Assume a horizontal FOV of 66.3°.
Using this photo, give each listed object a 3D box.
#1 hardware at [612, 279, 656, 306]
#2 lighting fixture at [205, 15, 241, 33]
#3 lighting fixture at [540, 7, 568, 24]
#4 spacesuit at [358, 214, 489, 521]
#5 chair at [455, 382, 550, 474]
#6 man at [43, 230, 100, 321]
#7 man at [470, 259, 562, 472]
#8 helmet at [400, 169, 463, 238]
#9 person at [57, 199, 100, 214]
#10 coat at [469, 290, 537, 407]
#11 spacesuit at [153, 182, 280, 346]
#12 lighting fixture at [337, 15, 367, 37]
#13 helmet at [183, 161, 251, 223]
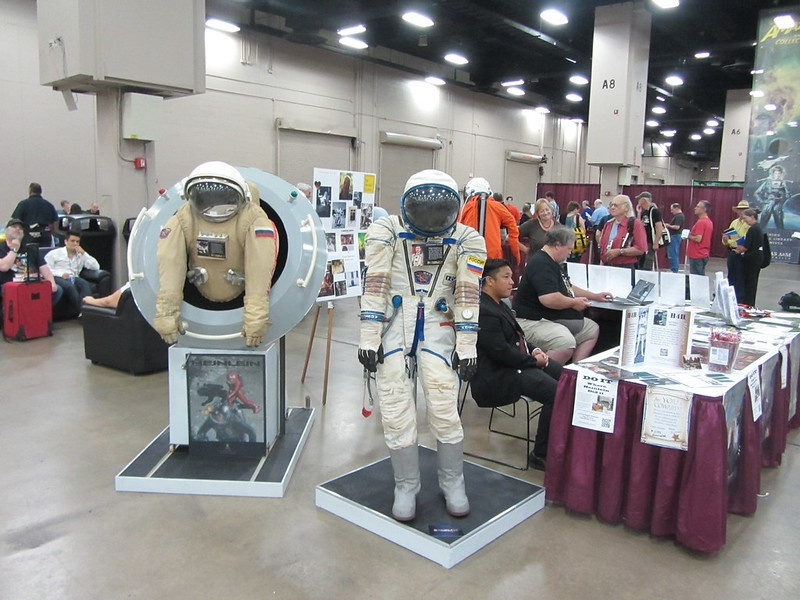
[{"bbox_3d":[2.219,-0.044,5.720,0.296,0.221,0.238,4,8,-24],"label":"hardware"},{"bbox_3d":[-3.244,-4.990,11.149,0.554,0.164,0.714,-2,12,-18],"label":"lighting fixture"},{"bbox_3d":[2.741,-5.066,10.840,0.389,0.264,0.560,7,13,23],"label":"lighting fixture"},{"bbox_3d":[0.110,0.390,3.589,0.690,1.695,0.535,3,12,7],"label":"spacesuit"},{"bbox_3d":[0.869,1.068,5.067,0.329,0.372,0.596,19,2,40],"label":"chair"},{"bbox_3d":[-4.070,-0.341,7.703,0.791,1.067,0.565,-11,-12,40],"label":"man"},{"bbox_3d":[0.847,0.457,4.380,0.745,1.489,0.541,-2,-4,14],"label":"man"},{"bbox_3d":[0.184,-0.572,3.670,0.348,0.447,0.445,2,-7,3],"label":"helmet"},{"bbox_3d":[-5.514,-1.586,10.418,0.740,0.221,0.571,7,17,19],"label":"person"},{"bbox_3d":[0.696,0.304,4.640,0.630,1.073,0.758,-2,6,9],"label":"coat"},{"bbox_3d":[-1.195,-0.224,3.955,0.789,1.087,0.618,3,28,-3],"label":"spacesuit"},{"bbox_3d":[-0.924,-5.134,11.449,0.525,0.136,0.301,-2,-4,10],"label":"lighting fixture"},{"bbox_3d":[-1.177,-0.700,3.992,0.453,0.411,0.446,2,2,10],"label":"helmet"}]
